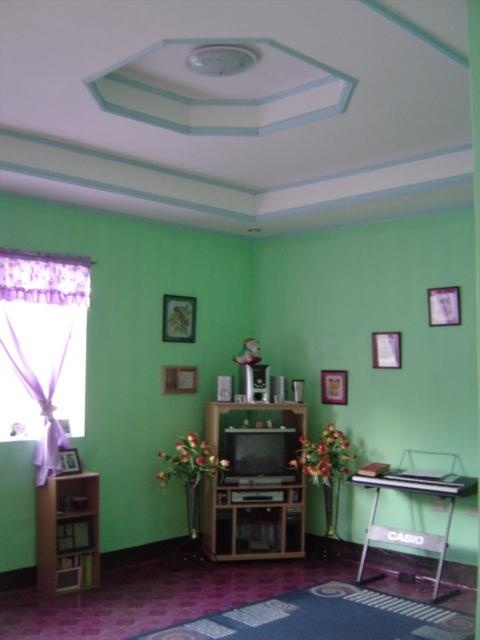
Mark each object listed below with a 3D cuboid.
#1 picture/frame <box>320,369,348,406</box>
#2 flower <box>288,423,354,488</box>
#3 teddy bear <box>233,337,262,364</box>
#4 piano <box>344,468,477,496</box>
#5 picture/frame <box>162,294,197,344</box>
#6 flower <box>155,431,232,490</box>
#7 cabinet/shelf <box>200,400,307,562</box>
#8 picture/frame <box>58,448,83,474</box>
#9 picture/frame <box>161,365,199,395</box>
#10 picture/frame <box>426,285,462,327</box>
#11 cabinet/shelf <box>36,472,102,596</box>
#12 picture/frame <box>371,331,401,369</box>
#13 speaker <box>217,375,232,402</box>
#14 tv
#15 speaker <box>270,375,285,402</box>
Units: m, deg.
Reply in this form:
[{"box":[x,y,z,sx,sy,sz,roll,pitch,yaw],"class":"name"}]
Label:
[{"box":[0.896,0.630,4.651,0.027,0.382,0.325,6,-8,-45],"class":"picture/frame"},{"box":[0.754,1.217,4.450,0.568,0.573,0.497,-3,-4,35],"class":"flower"},{"box":[0.086,0.297,4.822,0.232,0.257,0.266,-3,-4,42],"class":"teddy bear"},{"box":[1.285,1.192,3.694,0.842,0.116,0.385,-4,-5,42],"class":"piano"},{"box":[-0.598,-0.015,4.728,0.457,0.548,0.025,3,-6,-43],"class":"picture/frame"},{"box":[-0.441,1.251,4.351,0.510,0.419,0.550,-2,1,2],"class":"flower"},{"box":[0.168,1.428,4.517,0.809,1.328,0.418,1,-5,-4],"class":"cabinet/shelf"},{"box":[-1.298,1.064,3.736,0.223,0.242,0.025,1,-14,-41],"class":"picture/frame"},{"box":[-0.591,0.560,4.676,0.289,0.211,0.029,1,0,-36],"class":"picture/frame"},{"box":[1.664,-0.113,3.993,0.032,0.416,0.322,3,-4,-39],"class":"picture/frame"},{"box":[-1.267,1.569,3.664,0.378,0.771,0.259,12,-25,-44],"class":"cabinet/shelf"},{"box":[1.288,0.261,4.315,0.042,0.423,0.323,2,-1,-40],"class":"picture/frame"},{"box":[-0.146,0.644,4.628,0.195,0.292,0.197,1,-2,-6],"class":"speaker"},{"box":[0.120,1.254,4.624,0.717,0.503,0.394,5,-13,-17],"class":"tv"},{"box":[0.359,0.653,4.701,0.127,0.242,0.120,-1,-3,3],"class":"speaker"}]
